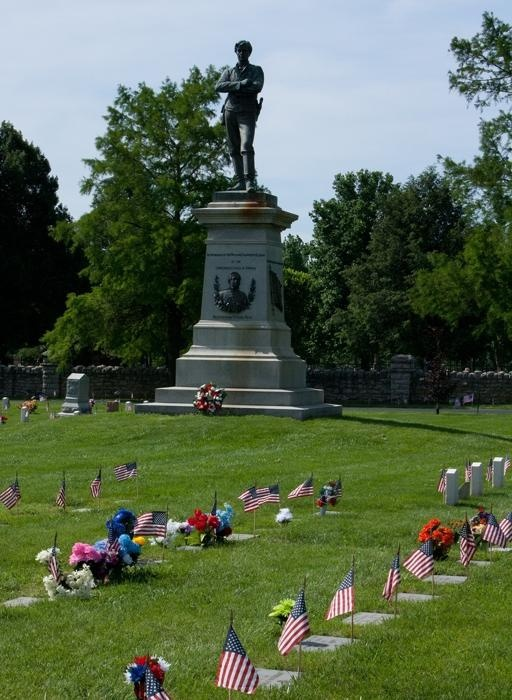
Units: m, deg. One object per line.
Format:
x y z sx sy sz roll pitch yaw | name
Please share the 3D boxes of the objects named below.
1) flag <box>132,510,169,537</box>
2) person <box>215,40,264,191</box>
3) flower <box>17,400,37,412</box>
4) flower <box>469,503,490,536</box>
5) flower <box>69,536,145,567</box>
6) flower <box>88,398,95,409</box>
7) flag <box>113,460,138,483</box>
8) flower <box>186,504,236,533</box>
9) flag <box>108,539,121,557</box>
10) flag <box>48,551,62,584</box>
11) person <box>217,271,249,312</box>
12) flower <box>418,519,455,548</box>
-1.100 1.845 17.158 0.342 0.288 0.434 1 -4 -5 | flag
-0.305 -4.669 32.703 0.897 2.970 1.203 2 -3 -10 | person
-5.821 1.440 41.861 0.210 0.271 0.421 -1 -4 -28 | flower
2.623 1.968 18.649 0.251 0.411 0.273 3 -11 -12 | flower
-1.517 2.021 16.273 0.595 0.309 0.317 0 -6 -36 | flower
-4.102 1.345 41.124 0.094 0.314 0.200 2 4 -24 | flower
-1.788 1.705 22.686 0.353 0.378 0.040 3 14 18 | flag
-0.521 1.862 18.156 0.403 0.231 0.278 2 -16 24 | flower
-1.391 1.965 16.242 0.108 0.244 0.108 -2 -12 18 | flag
-1.926 2.107 15.707 0.090 0.404 0.149 -22 45 -27 | flag
-0.401 -1.133 31.809 0.634 0.851 0.256 1 -9 2 | person
1.938 1.969 17.464 0.341 0.406 0.367 3 0 18 | flower
